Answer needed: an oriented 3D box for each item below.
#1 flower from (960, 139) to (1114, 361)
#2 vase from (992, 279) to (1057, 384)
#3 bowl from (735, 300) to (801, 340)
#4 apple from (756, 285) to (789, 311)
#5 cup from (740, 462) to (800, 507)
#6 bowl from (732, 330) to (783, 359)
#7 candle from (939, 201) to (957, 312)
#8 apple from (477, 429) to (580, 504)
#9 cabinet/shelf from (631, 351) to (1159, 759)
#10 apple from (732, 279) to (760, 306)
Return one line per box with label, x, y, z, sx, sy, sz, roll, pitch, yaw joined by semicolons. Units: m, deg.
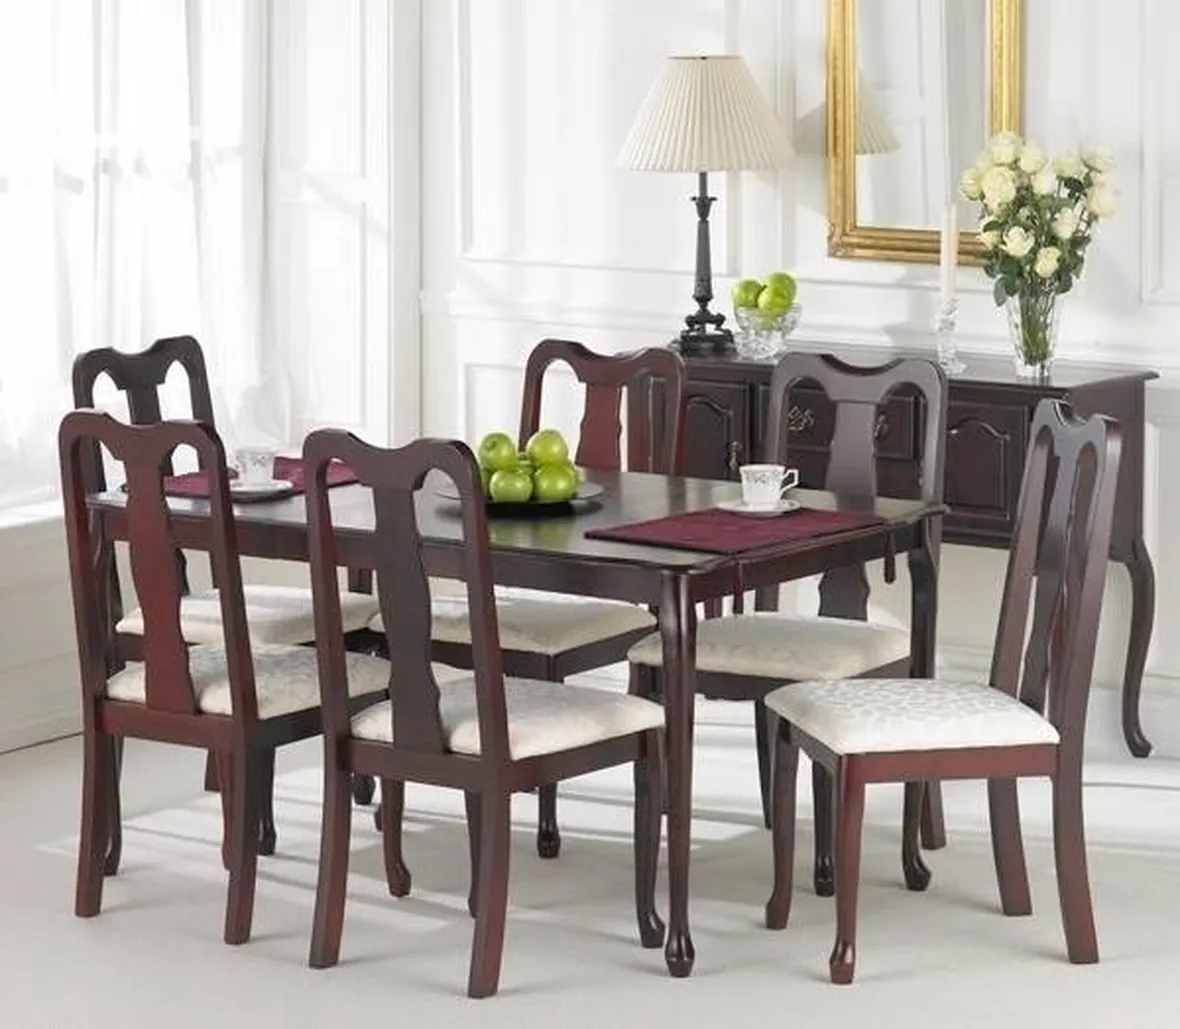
flower;1.268;-0.744;3.174;0.458;0.670;0.368;-4;5;-37
vase;1.218;-0.502;3.175;0.145;0.252;0.154;1;-3;-34
bowl;0.550;-0.598;3.548;0.118;0.072;0.123;1;1;0
apple;0.564;-0.668;3.552;0.083;0.091;0.082;-1;-6;-6
cup;0.369;-0.063;2.290;0.140;0.107;0.107;-1;3;-12
bowl;0.534;-0.529;3.574;0.090;0.044;0.114;-4;5;-44
candle;1.017;-0.753;3.254;0.048;0.279;0.051;-3;10;-3
apple;-0.115;-0.098;2.334;0.154;0.070;0.164;-12;35;-22
cabinet/shelf;0.929;0.099;3.677;0.566;1.218;1.573;-14;15;-32
apple;0.498;-0.706;3.605;0.080;0.109;0.084;5;7;22
